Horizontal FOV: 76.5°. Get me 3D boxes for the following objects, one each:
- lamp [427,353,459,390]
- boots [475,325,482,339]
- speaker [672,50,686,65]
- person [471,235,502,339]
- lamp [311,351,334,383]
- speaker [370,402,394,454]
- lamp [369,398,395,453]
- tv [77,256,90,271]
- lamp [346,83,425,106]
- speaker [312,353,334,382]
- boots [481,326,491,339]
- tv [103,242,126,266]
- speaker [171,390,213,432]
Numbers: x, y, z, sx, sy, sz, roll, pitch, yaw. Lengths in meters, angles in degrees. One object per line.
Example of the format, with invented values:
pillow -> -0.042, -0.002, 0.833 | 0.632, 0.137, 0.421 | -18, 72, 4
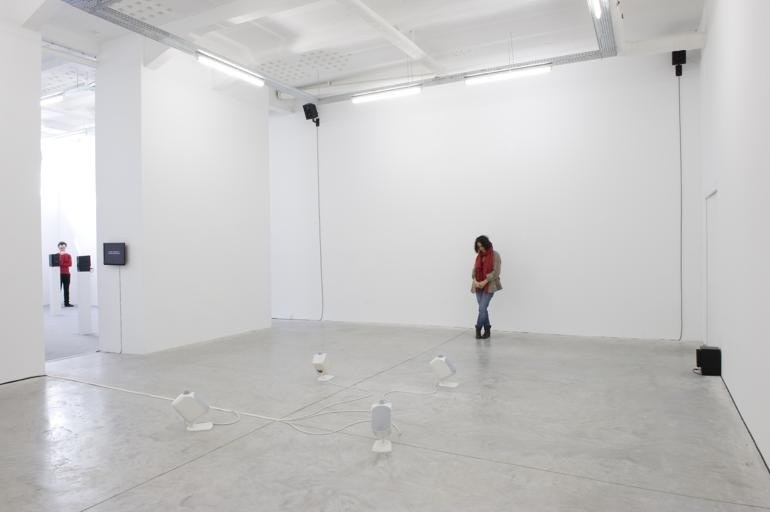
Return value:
lamp -> 0.771, 1.468, 6.221 | 0.431, 0.502, 0.301 | -7, 5, 11
boots -> 1.648, 1.348, 8.605 | 0.092, 0.198, 0.152 | 0, 9, 9
speaker -> 4.752, -3.199, 7.902 | 0.212, 0.209, 0.170 | 3, 10, 23
person -> 1.742, 0.564, 8.698 | 0.573, 1.796, 0.499 | -9, 12, -42
lamp -> -0.819, 1.525, 6.585 | 0.347, 0.396, 0.320 | -3, -10, 15
speaker -> -0.032, 1.666, 4.860 | 0.206, 0.404, 0.413 | -1, 9, 0
lamp -> -0.029, 1.698, 4.838 | 0.309, 0.553, 0.385 | 0, -5, 2
tv -> -5.994, 0.170, 9.774 | 0.280, 0.314, 0.072 | 7, 3, -13
lamp -> 0.059, -3.106, 9.349 | 1.075, 0.185, 0.115 | 0, -30, 21
speaker -> -0.830, 1.505, 6.537 | 0.321, 0.373, 0.328 | -3, -10, 13
boots -> 1.846, 1.387, 8.728 | 0.117, 0.201, 0.267 | -3, -11, 29
tv -> -4.445, -0.028, 8.076 | 0.375, 0.335, 0.053 | -1, -1, 23
speaker -> -2.045, 1.627, 5.249 | 0.368, 0.444, 0.384 | -4, 9, -20
